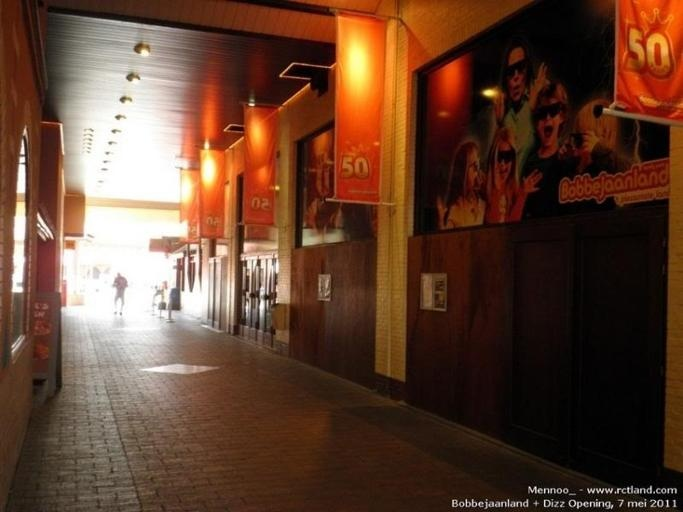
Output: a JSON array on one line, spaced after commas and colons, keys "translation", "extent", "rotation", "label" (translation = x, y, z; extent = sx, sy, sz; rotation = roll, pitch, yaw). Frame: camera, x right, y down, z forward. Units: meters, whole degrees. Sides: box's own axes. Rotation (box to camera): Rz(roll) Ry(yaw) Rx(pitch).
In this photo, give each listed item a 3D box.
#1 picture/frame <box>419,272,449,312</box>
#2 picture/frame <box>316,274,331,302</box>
[{"translation": [1.340, 0.516, 8.277], "extent": [0.025, 0.557, 0.536], "rotation": [1, -2, -21], "label": "picture/frame"}, {"translation": [-0.354, 0.662, 11.891], "extent": [0.051, 0.587, 0.531], "rotation": [1, -3, -19], "label": "picture/frame"}]
